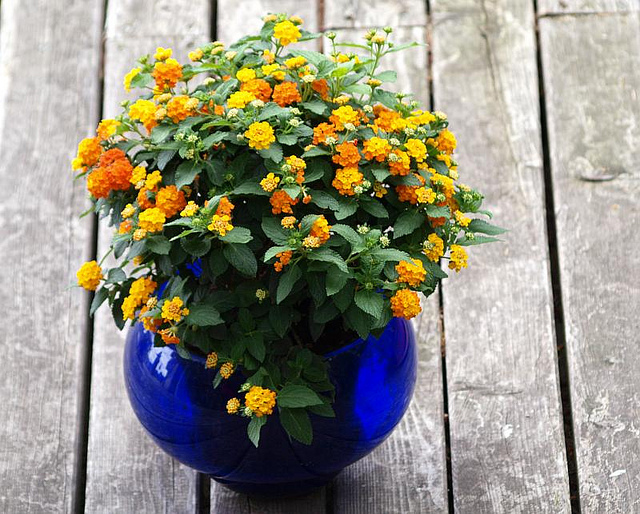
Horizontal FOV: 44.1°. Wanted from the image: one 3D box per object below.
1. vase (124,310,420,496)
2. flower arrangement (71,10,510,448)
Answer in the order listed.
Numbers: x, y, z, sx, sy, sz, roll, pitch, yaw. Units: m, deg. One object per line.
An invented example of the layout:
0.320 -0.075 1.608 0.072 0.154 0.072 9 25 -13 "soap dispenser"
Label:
-0.046 0.262 1.530 0.447 0.440 0.255 12 83 -1 "vase"
-0.043 -0.094 1.443 0.726 0.647 0.753 27 43 22 "flower arrangement"
